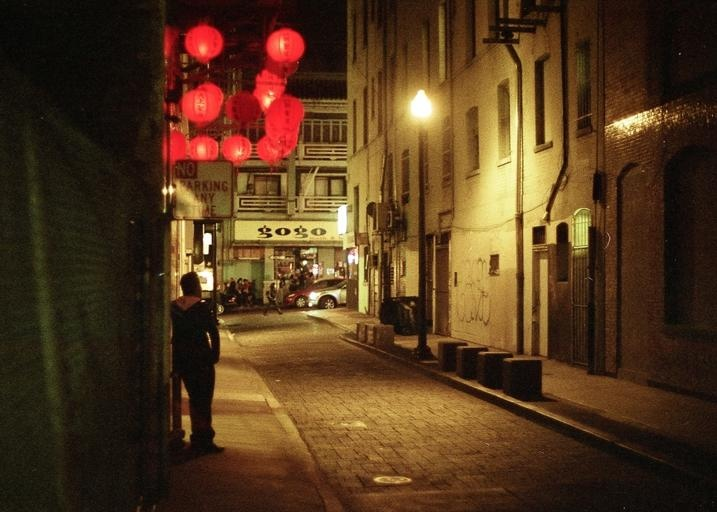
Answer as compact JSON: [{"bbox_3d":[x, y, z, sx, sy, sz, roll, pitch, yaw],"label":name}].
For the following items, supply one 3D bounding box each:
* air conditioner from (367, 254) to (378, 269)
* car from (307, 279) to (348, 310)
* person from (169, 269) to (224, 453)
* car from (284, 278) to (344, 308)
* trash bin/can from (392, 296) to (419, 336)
[{"bbox_3d":[0.677,0.239,37.707,0.473,0.711,0.580,-2,3,-42],"label":"air conditioner"},{"bbox_3d":[-1.882,2.319,46.429,2.453,1.252,1.311,1,-3,-12],"label":"car"},{"bbox_3d":[-2.117,1.500,10.135,0.599,1.972,0.442,-1,1,-11],"label":"person"},{"bbox_3d":[-2.733,2.149,46.980,3.484,1.439,1.537,-2,-1,-10],"label":"car"},{"bbox_3d":[1.596,2.029,26.960,1.064,1.668,1.095,-1,-1,-1],"label":"trash bin/can"}]
